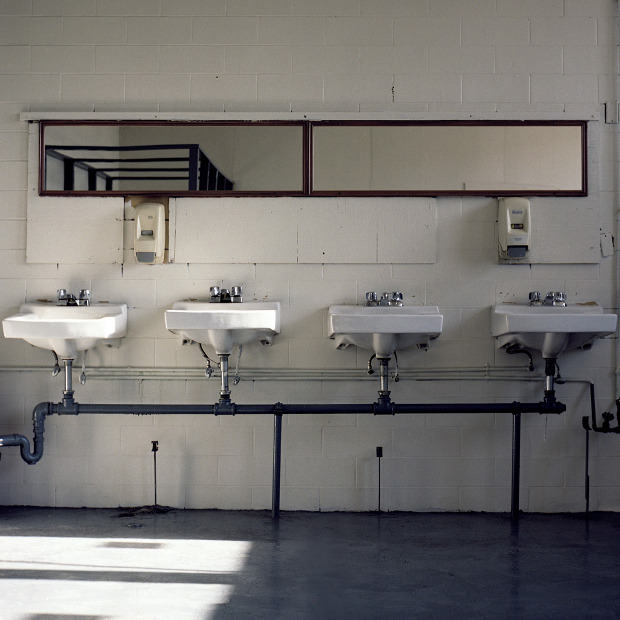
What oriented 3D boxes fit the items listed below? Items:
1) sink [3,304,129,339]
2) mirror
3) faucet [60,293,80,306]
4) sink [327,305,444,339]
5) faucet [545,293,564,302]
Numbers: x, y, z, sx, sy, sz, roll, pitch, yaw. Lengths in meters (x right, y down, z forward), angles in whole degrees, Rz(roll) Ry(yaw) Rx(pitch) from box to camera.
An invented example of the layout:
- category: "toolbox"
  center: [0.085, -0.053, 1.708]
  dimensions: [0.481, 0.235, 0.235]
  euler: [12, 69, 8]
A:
- category: "sink"
  center: [-1.205, 0.084, 6.340]
  dimensions: [0.535, 0.188, 0.492]
  euler: [0, 15, 0]
- category: "mirror"
  center: [0.012, -0.783, 6.541]
  dimensions: [2.794, 0.379, 0.110]
  euler: [0, 14, 0]
- category: "faucet"
  center: [-1.229, -0.053, 6.486]
  dimensions: [0.100, 0.060, 0.091]
  euler: [-3, 15, -12]
- category: "sink"
  center: [0.361, 0.065, 6.335]
  dimensions: [0.550, 0.200, 0.478]
  euler: [0, 15, 1]
- category: "faucet"
  center: [1.237, -0.059, 6.470]
  dimensions: [0.091, 0.048, 0.046]
  euler: [3, 15, 10]
